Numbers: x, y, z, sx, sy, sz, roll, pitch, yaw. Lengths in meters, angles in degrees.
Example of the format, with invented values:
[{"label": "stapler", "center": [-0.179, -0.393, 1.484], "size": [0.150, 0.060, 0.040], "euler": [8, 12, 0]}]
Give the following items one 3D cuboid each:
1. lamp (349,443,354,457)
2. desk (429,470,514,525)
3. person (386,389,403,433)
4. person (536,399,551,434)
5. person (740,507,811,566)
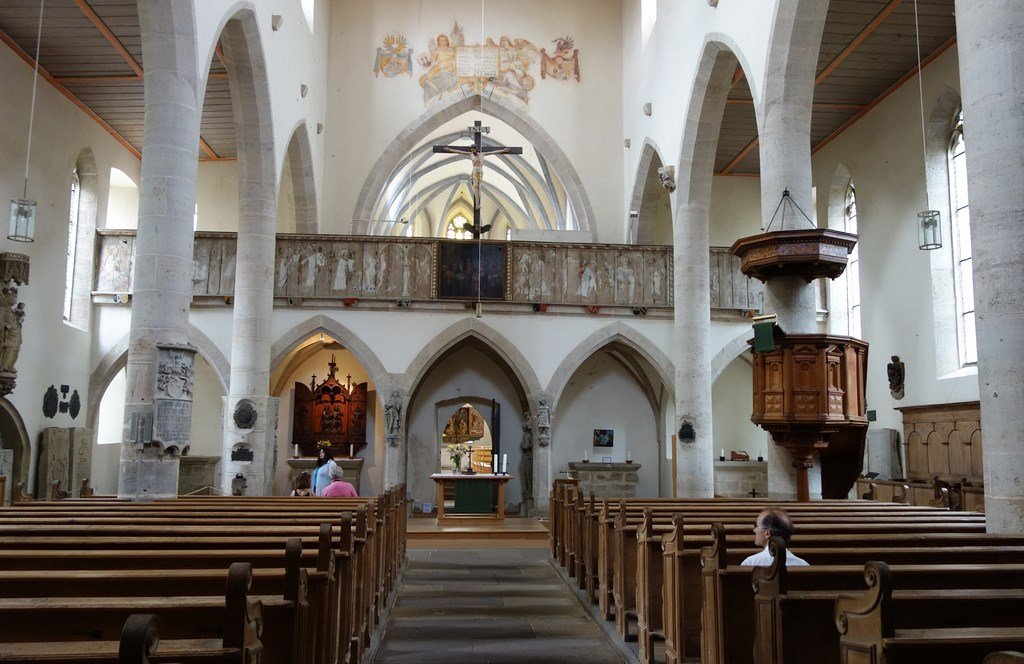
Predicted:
[{"label": "lamp", "center": [-4.334, 3.209, 25.312], "size": [0.163, 0.327, 0.829], "euler": [1, 3, -9]}, {"label": "desk", "center": [-0.851, 3.415, 21.320], "size": [1.807, 1.114, 1.821], "euler": [0, -13, -2]}, {"label": "person", "center": [-2.799, 1.919, 22.265], "size": [0.388, 0.941, 0.288], "euler": [1, 2, 1]}, {"label": "person", "center": [0.755, 2.053, 22.563], "size": [0.318, 0.932, 0.255], "euler": [1, 2, 2]}, {"label": "person", "center": [2.661, 2.171, 9.628], "size": [0.446, 0.723, 0.849], "euler": [8, 3, 44]}]
